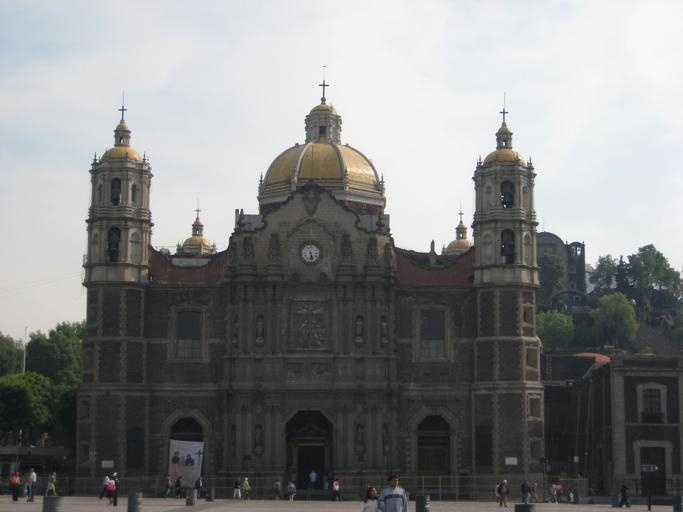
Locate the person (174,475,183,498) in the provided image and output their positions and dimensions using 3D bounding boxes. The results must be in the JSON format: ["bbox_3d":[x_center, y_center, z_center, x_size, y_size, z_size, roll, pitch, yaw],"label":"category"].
[{"bbox_3d":[-12.981,18.436,157.751,0.586,1.766,1.067,0,-17,-5],"label":"person"}]
